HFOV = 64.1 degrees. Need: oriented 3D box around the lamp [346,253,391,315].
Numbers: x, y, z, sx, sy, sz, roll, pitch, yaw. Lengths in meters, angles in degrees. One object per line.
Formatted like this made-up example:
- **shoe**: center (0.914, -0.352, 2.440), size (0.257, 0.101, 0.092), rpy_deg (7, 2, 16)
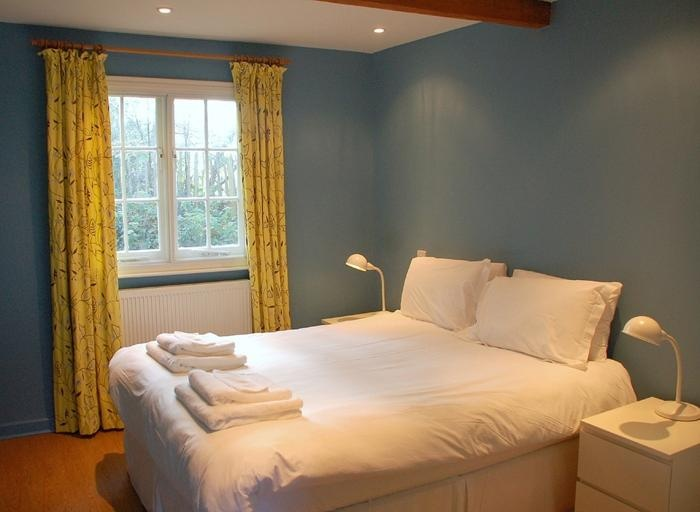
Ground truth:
- **lamp**: center (0.161, 0.262, 5.203), size (0.372, 0.628, 0.894), rpy_deg (-2, 6, 2)
